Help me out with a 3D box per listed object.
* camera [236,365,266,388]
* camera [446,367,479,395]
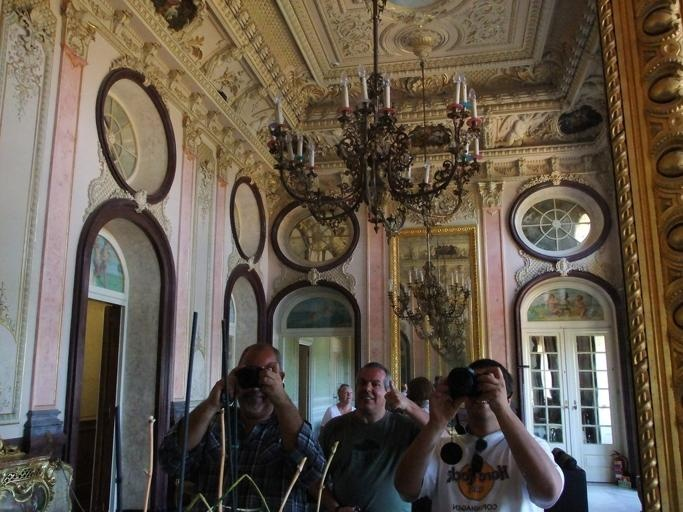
[{"bbox_3d":[-0.434,0.563,2.681,0.142,0.112,0.084,0,-12,4],"label":"camera"},{"bbox_3d":[0.575,0.602,2.730,0.149,0.140,0.122,4,-16,-13],"label":"camera"}]
